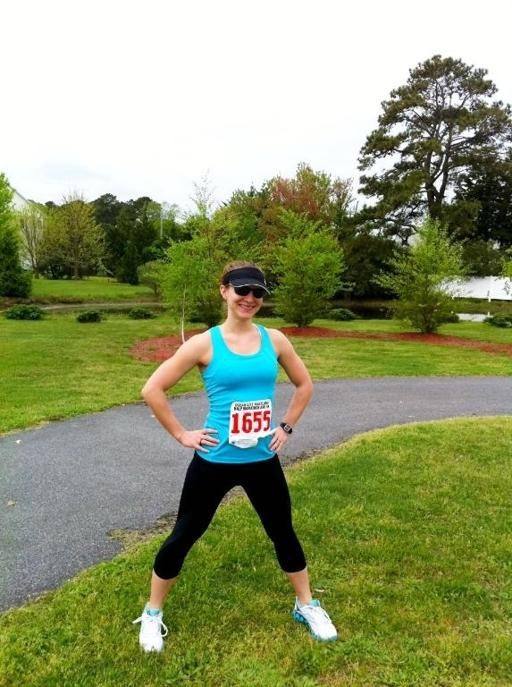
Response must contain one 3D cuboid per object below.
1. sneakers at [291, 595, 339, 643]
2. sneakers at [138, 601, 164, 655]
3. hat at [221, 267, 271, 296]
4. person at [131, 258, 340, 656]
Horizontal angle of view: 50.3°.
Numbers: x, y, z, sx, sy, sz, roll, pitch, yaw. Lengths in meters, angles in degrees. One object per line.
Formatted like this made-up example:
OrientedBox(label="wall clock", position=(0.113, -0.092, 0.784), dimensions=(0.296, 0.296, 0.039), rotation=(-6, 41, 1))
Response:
OrientedBox(label="sneakers", position=(0.314, 1.490, 2.932), dimensions=(0.104, 0.117, 0.275), rotation=(10, -11, -23))
OrientedBox(label="sneakers", position=(-0.561, 1.516, 2.935), dimensions=(0.172, 0.137, 0.356), rotation=(13, -1, -11))
OrientedBox(label="hat", position=(-0.065, -0.324, 2.828), dimensions=(0.141, 0.083, 0.190), rotation=(7, 5, -20))
OrientedBox(label="person", position=(-0.140, 0.580, 2.862), dimensions=(1.019, 1.991, 0.394), rotation=(-3, 6, -12))
